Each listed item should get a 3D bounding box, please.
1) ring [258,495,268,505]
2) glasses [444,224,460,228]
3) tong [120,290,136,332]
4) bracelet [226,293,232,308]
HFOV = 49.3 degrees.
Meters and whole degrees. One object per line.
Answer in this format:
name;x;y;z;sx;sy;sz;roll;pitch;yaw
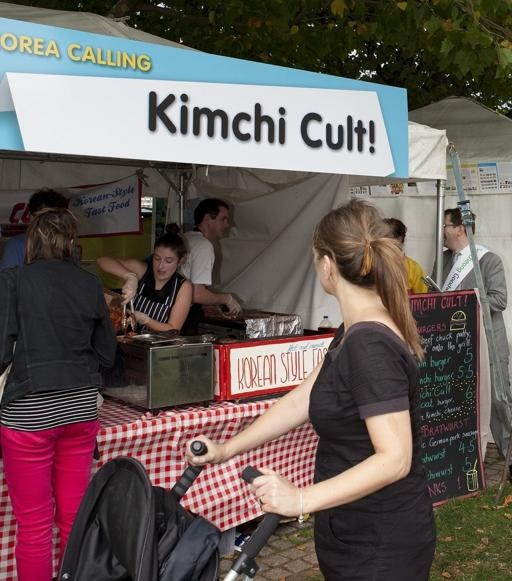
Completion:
ring;0.012;0.388;1.033;0.023;0.019;0.007;1;-28;-25
glasses;1.705;-0.568;4.873;0.025;0.043;0.143;-5;5;-36
tong;-0.710;0.138;3.111;0.083;0.230;0.033;-6;20;-33
bracelet;-0.190;0.070;3.984;0.063;0.073;0.037;-2;-13;-6
